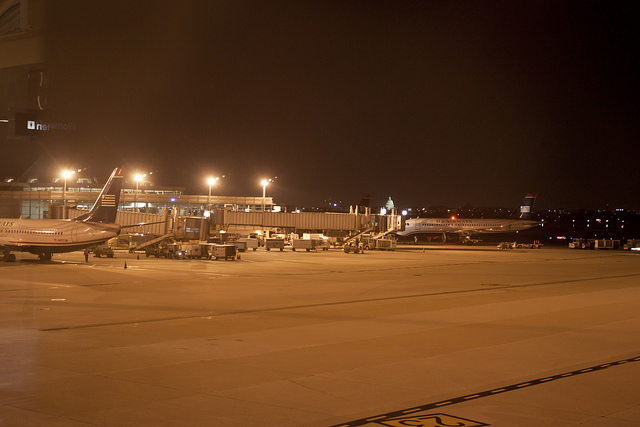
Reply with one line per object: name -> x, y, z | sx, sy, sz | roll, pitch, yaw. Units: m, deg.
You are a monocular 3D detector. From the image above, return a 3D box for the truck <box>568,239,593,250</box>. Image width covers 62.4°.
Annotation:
truck -> 51.516, 6.169, 105.230 | 2.562, 2.105, 4.568 | 0, 1, 4

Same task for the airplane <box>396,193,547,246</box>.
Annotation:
airplane -> 33.311, 1.885, 116.918 | 28.376, 10.428, 16.281 | 0, 1, -41

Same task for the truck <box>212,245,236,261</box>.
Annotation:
truck -> -10.904, 4.665, 61.012 | 1.944, 1.200, 1.830 | 2, -4, -34
